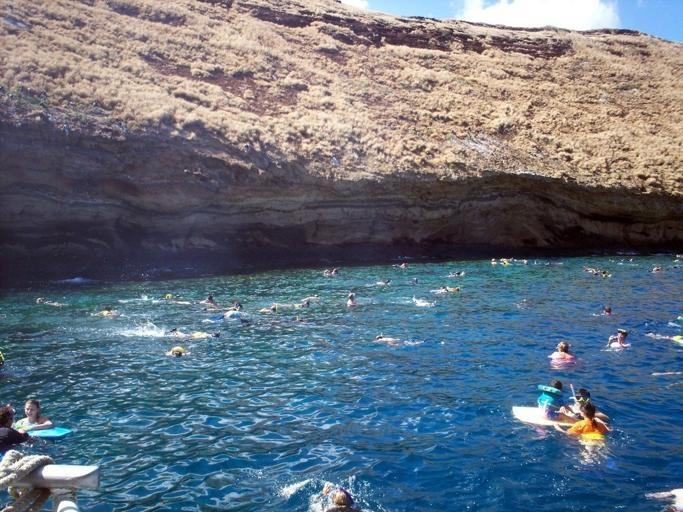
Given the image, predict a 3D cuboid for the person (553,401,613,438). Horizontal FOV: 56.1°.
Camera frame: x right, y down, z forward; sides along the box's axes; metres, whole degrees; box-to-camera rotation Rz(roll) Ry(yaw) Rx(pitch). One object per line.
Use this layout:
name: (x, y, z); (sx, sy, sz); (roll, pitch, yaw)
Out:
person: (6.764, 4.463, 17.709); (1.336, 0.394, 1.306); (-4, -8, 40)

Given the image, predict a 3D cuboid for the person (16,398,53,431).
person: (-8.619, 4.389, 17.850); (1.205, 0.507, 1.124); (-8, -4, 1)

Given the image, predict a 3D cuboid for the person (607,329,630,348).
person: (9.715, 2.930, 22.525); (0.637, 0.718, 0.292); (31, -12, 11)

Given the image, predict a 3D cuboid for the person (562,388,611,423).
person: (6.767, 4.215, 18.339); (1.352, 0.347, 1.054); (-5, -1, -10)
